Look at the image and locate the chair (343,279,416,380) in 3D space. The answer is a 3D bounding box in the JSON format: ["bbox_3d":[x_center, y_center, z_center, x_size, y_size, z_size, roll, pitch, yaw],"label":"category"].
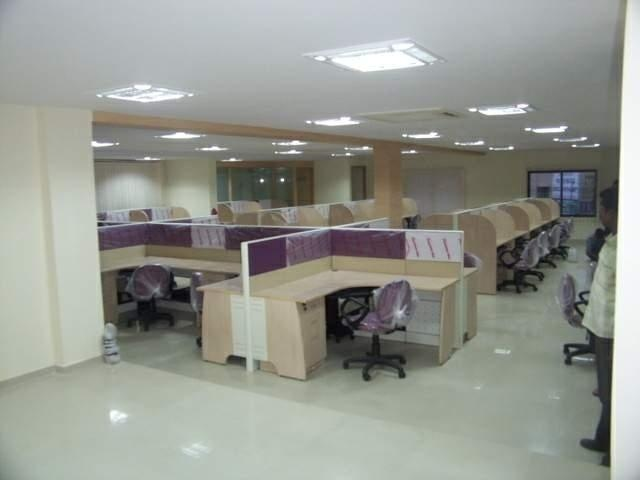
[{"bbox_3d":[0.524,0.820,4.619,0.586,0.824,0.627,-2,3,40],"label":"chair"}]

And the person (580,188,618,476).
[{"bbox_3d":[1.842,0.570,3.224,0.211,1.849,0.688,4,11,29],"label":"person"}]

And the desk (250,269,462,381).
[{"bbox_3d":[0.183,0.765,4.783,1.268,0.758,1.293,5,10,29],"label":"desk"}]

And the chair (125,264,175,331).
[{"bbox_3d":[-2.109,0.666,6.166,0.583,0.778,0.607,0,6,12],"label":"chair"}]
